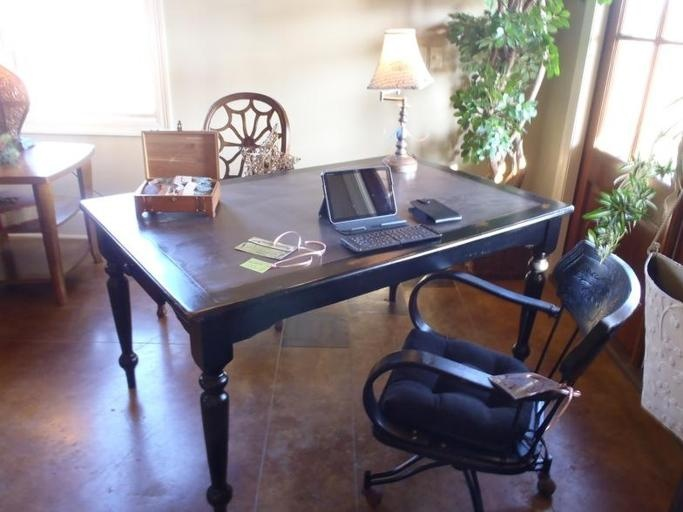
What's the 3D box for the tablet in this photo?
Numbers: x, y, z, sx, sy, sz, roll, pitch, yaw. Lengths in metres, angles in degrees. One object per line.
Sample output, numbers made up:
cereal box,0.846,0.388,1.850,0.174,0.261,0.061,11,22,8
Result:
tablet,0.065,-0.280,2.336,0.320,0.216,0.242,-13,-11,-19
